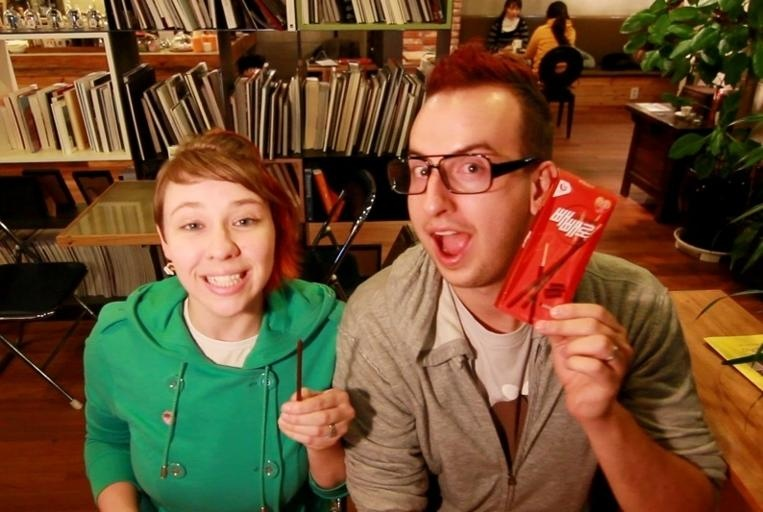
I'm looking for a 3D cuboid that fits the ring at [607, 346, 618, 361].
[{"bbox_3d":[0.564,0.237,1.275,0.009,0.036,0.025,24,55,-1],"label":"ring"}]

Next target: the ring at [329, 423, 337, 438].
[{"bbox_3d":[-0.138,0.492,1.476,0.030,0.034,0.012,8,5,8],"label":"ring"}]

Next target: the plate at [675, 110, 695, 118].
[{"bbox_3d":[2.655,-1.248,4.630,0.153,0.032,0.138,0,3,-5],"label":"plate"}]
